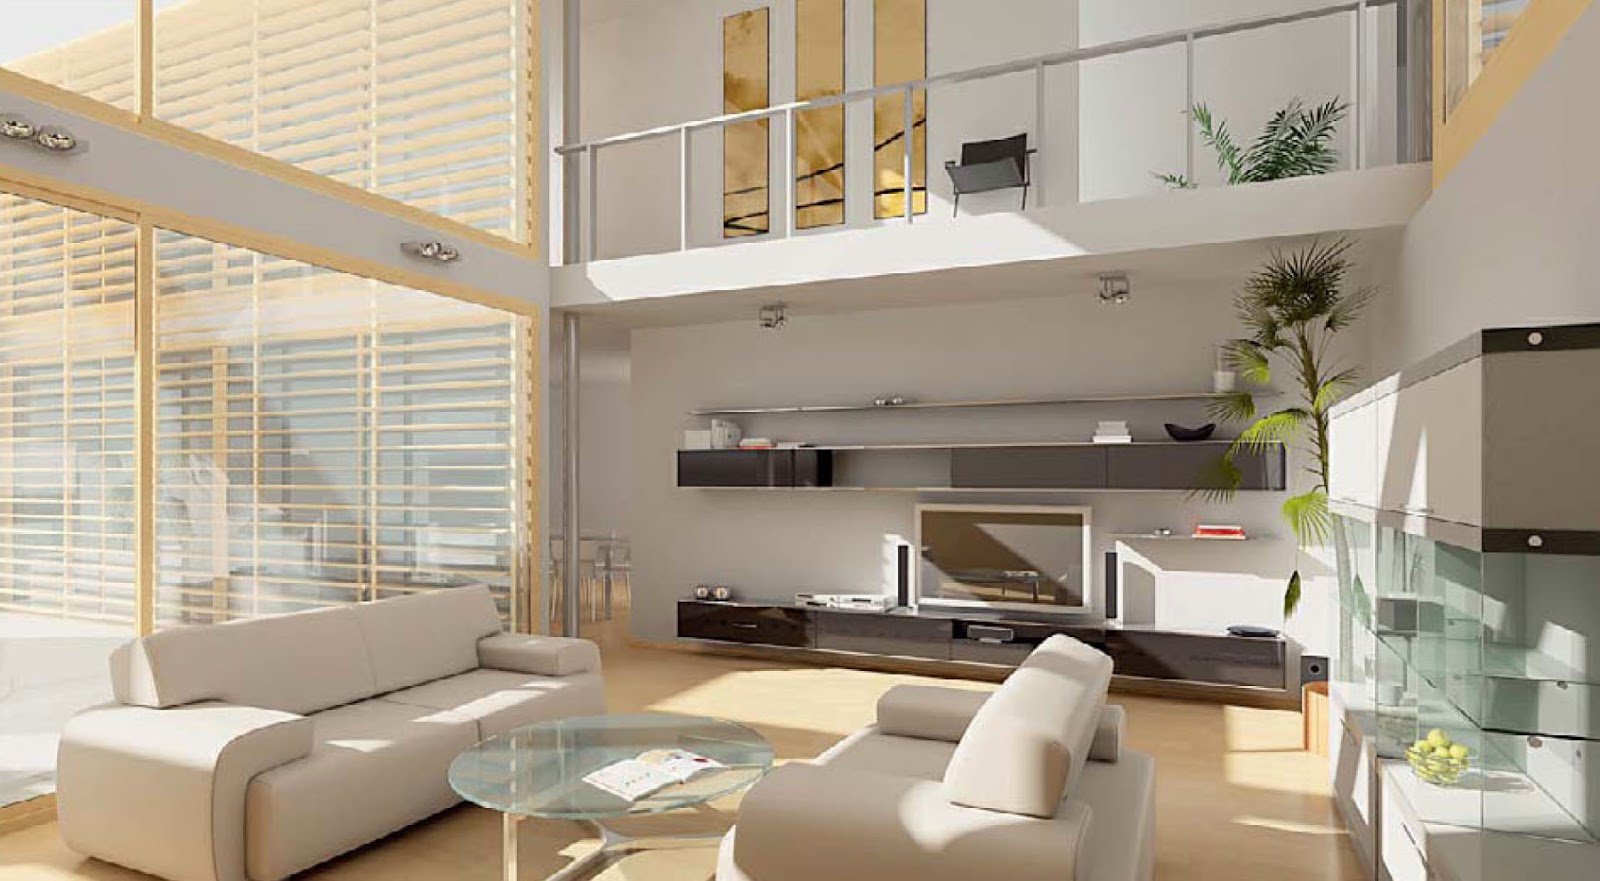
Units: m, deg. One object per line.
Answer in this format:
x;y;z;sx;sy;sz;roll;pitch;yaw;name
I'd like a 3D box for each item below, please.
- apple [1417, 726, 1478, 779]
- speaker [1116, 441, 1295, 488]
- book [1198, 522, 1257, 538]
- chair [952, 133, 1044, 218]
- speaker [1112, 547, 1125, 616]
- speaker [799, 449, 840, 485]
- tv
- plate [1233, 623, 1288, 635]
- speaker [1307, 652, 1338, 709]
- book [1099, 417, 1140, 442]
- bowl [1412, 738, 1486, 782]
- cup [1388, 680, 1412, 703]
3.337;1.629;5.405;0.266;0.153;0.246;-2;-4;20;apple
3.333;0.202;8.686;1.388;0.398;0.332;-2;-5;15;speaker
3.625;0.774;8.854;0.449;0.138;0.245;-3;-5;21;book
1.896;-2.655;9.737;0.721;0.515;0.470;-15;-28;4;chair
2.786;1.259;9.114;0.128;0.595;0.069;-3;-5;25;speaker
0.190;0.206;9.862;0.508;0.398;0.329;1;1;19;speaker
1.876;1.080;9.480;1.860;0.967;0.075;-4;-6;43;tv
3.814;1.585;8.656;0.387;0.071;0.373;-3;-5;20;plate
4.232;1.853;8.463;0.183;0.231;0.211;-2;-5;15;speaker
2.748;-0.089;8.979;0.269;0.151;0.242;-1;-2;19;book
3.378;1.663;5.385;0.242;0.109;0.221;-1;-5;0;bowl
3.375;1.426;5.883;0.137;0.079;0.127;-1;1;0;cup
